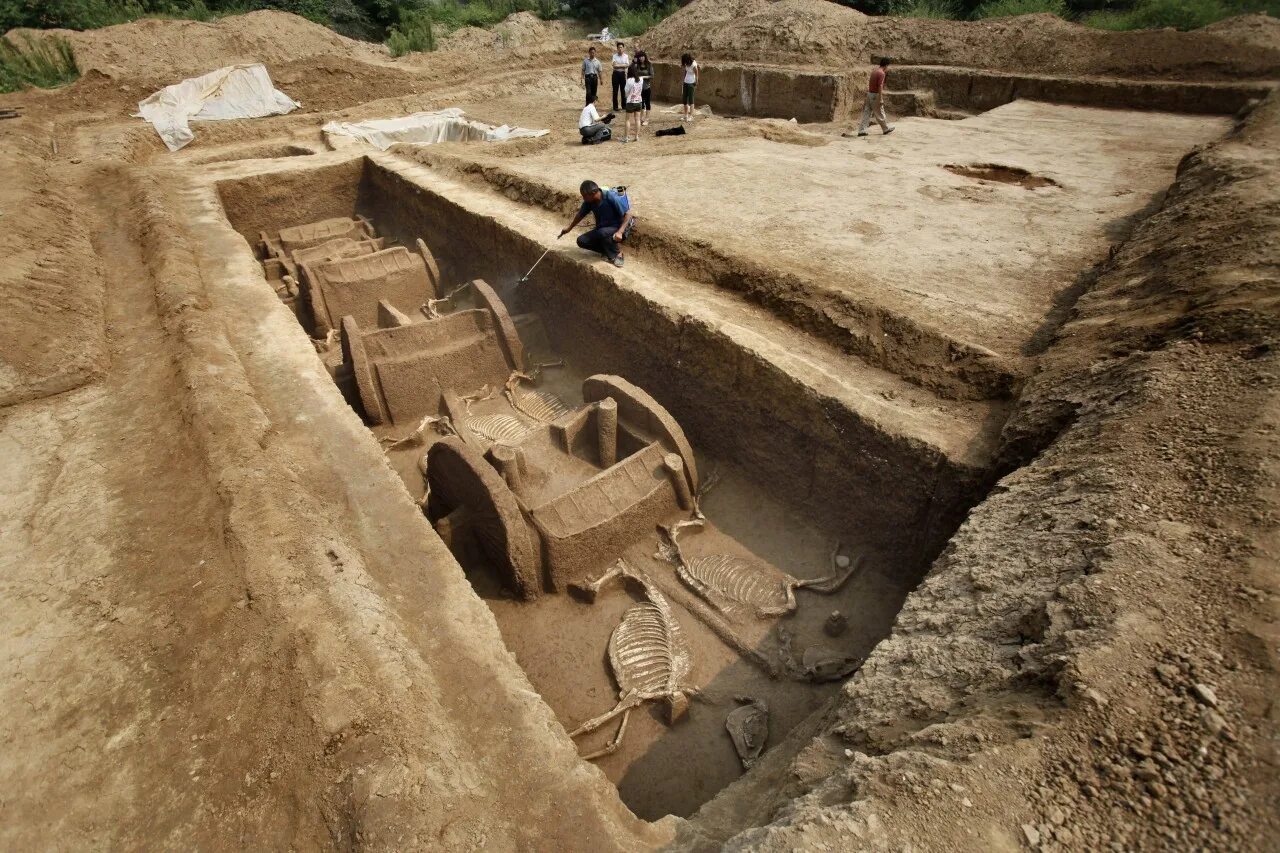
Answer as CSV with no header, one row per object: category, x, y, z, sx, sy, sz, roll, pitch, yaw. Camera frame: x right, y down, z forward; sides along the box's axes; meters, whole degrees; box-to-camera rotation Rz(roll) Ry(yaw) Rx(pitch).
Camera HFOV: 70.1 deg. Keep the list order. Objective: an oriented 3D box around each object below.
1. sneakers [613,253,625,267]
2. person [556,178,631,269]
sneakers,-0.233,-1.734,9.543,0.111,0.067,0.144,-7,49,-2
person,-0.447,-2.169,9.755,0.636,0.938,0.592,-6,23,2
